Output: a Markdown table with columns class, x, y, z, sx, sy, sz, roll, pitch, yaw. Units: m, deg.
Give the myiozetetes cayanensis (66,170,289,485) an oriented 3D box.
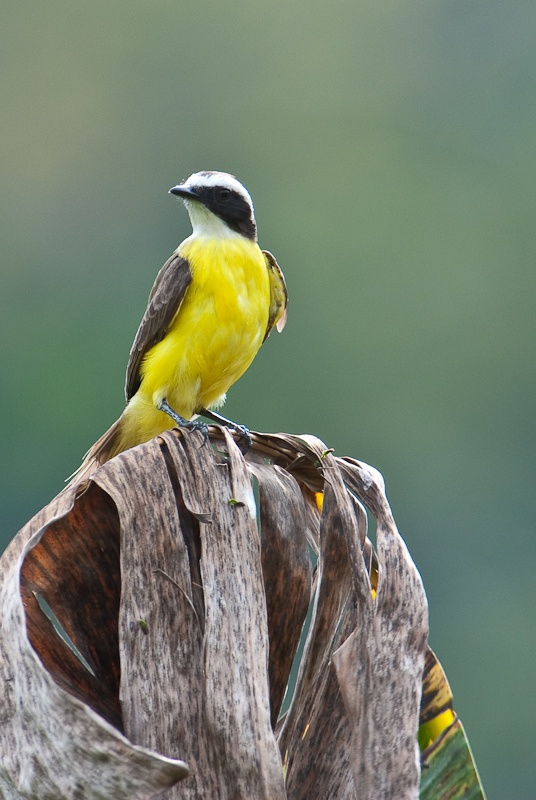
| class | x | y | z | sx | sy | sz | roll | pitch | yaw |
| --- | --- | --- | --- | --- | --- | --- | --- | --- | --- |
| myiozetetes cayanensis | -0.159 | -0.166 | 2.640 | 0.294 | 0.499 | 0.656 | 6 | 26 | 0 |
